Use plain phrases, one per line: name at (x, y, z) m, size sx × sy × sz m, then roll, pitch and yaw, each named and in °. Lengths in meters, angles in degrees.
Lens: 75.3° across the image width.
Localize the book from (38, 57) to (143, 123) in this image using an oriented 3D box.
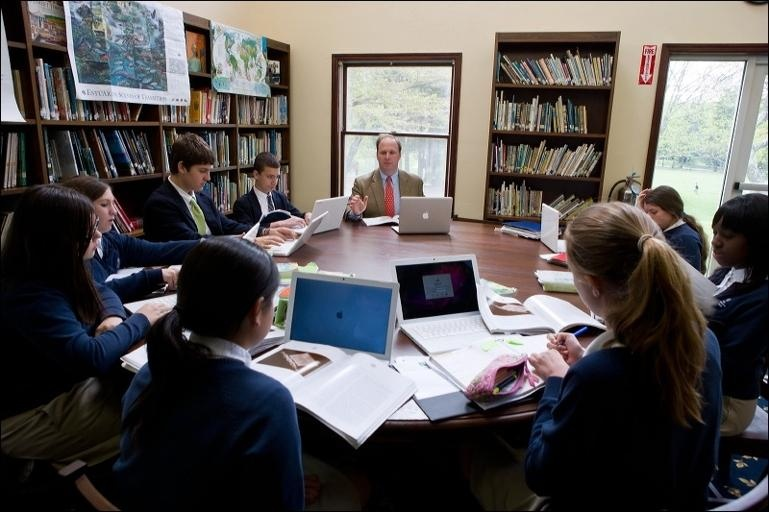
book at (-2.181, -1.202, 3.649) m, size 0.100 × 0.407 × 0.726 m, roll 8°, pitch 18°, yaw 22°

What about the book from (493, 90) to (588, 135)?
book at (1.523, -1.374, 4.890) m, size 1.136 × 0.481 × 0.432 m, roll 4°, pitch 10°, yaw 3°

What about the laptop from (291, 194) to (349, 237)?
laptop at (-0.454, -0.339, 3.754) m, size 0.286 × 0.219 × 0.364 m, roll 13°, pitch 24°, yaw 34°

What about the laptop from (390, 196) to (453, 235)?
laptop at (0.311, -0.304, 3.761) m, size 0.387 × 0.269 × 0.294 m, roll -1°, pitch 22°, yaw -5°

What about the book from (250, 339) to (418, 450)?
book at (-0.182, 0.511, 1.813) m, size 0.480 × 0.069 × 0.283 m, roll 18°, pitch 28°, yaw 33°

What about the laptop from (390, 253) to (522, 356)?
laptop at (0.269, 0.199, 2.328) m, size 0.481 × 0.305 × 0.404 m, roll -6°, pitch 25°, yaw -24°

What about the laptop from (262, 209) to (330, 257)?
laptop at (-0.610, -0.186, 3.266) m, size 0.279 × 0.181 × 0.302 m, roll 10°, pitch 28°, yaw 20°

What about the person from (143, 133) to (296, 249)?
person at (-1.172, -0.398, 3.599) m, size 1.095 × 0.836 × 0.576 m, roll 6°, pitch 11°, yaw 16°
